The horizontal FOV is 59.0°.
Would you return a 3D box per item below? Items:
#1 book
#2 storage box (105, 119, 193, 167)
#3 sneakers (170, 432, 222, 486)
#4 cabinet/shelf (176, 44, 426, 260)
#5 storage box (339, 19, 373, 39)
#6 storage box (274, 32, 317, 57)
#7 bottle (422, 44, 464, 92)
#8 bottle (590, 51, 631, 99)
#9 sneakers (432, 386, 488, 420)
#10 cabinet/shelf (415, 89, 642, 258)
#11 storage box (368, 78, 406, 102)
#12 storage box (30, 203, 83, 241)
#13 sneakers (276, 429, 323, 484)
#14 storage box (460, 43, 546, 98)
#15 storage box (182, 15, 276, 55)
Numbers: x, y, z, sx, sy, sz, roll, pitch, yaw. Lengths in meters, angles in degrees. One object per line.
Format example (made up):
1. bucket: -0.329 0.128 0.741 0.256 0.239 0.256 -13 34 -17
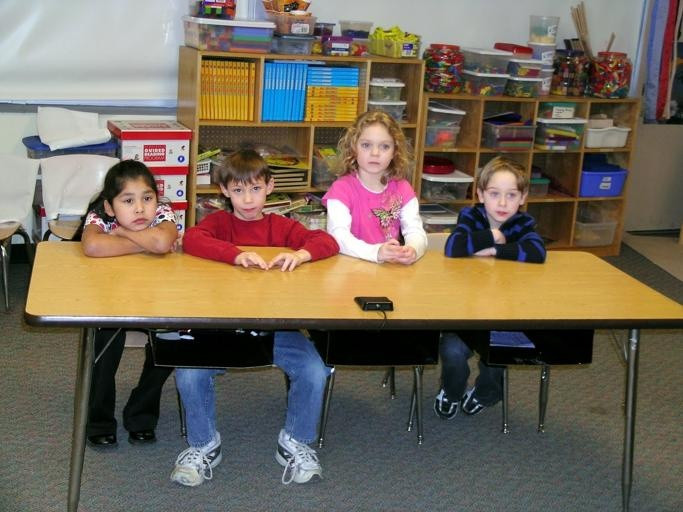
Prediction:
1. book: -0.380 -0.743 3.648 1.152 0.955 0.362 -2 14 -17
2. storage box: -1.212 -0.780 3.868 0.389 0.227 0.377 -4 16 -27
3. sneakers: -0.556 0.788 2.346 0.129 0.100 0.226 7 10 13
4. cabinet/shelf: -0.278 -0.620 3.370 1.460 1.229 0.432 -2 24 -14
5. storage box: 0.114 -1.569 4.192 0.190 0.082 0.186 3 12 1
6. storage box: -0.307 -1.364 3.905 0.215 0.091 0.149 -4 17 -23
7. bottle: 0.691 -1.347 4.414 0.344 0.357 0.338 2 7 4
8. bottle: 2.121 -1.429 4.836 0.362 0.373 0.361 4 11 11
9. sneakers: 0.538 0.687 2.862 0.295 0.111 0.123 -8 3 -17
10. cabinet/shelf: 1.283 -0.636 4.208 1.405 0.999 0.403 -1 12 -11
11. storage box: 0.320 -1.152 4.198 0.241 0.104 0.174 -7 17 -31
12. storage box: -1.608 -0.199 3.443 0.191 0.260 0.188 2 27 -6
13. sneakers: -0.185 0.777 2.407 0.129 0.117 0.231 -3 13 -33
14. storage box: 1.232 -1.368 4.498 0.668 0.343 0.237 -8 21 -23
15. storage box: -0.678 -1.377 3.771 0.350 0.113 0.343 -6 18 -31
